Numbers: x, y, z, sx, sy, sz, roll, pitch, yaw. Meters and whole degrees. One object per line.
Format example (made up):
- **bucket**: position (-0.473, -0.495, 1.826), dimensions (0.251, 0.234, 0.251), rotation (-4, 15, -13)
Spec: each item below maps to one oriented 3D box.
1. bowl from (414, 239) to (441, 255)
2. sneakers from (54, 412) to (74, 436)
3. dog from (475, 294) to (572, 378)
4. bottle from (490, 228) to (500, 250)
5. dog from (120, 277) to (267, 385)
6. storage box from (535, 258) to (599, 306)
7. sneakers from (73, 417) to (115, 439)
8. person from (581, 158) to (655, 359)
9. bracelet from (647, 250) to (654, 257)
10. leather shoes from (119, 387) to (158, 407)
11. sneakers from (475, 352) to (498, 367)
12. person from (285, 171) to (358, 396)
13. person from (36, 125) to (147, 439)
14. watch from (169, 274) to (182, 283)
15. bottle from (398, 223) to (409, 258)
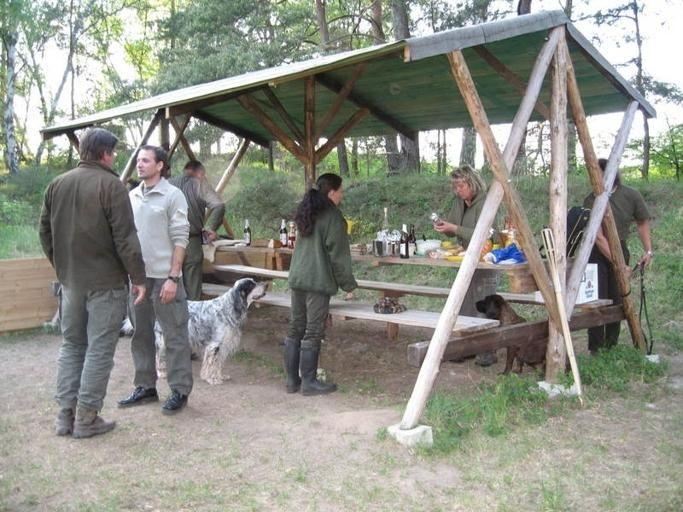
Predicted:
- **bowl**: position (1.060, -0.093, 7.056), dimensions (0.304, 0.185, 0.368), rotation (2, 8, 9)
- **sneakers**: position (-2.615, 1.611, 5.479), dimensions (0.101, 0.195, 0.302), rotation (3, 12, -25)
- **dog**: position (2.237, 0.969, 6.879), dimensions (0.434, 0.930, 1.364), rotation (-9, 5, -33)
- **bottle**: position (1.858, -0.210, 6.955), dimensions (0.123, 0.225, 0.657), rotation (2, 9, 15)
- **dog**: position (-1.745, 0.943, 7.147), dimensions (1.461, 1.227, 0.494), rotation (2, 6, -10)
- **storage box**: position (2.978, 0.378, 7.196), dimensions (0.571, 0.407, 0.621), rotation (-1, 4, -12)
- **sneakers**: position (-2.331, 1.619, 5.456), dimensions (0.425, 0.209, 0.137), rotation (-4, 9, -38)
- **person**: position (3.681, 0.030, 7.671), dimensions (1.081, 2.640, 0.655), rotation (-7, 10, -41)
- **bracelet**: position (4.512, -0.029, 8.453), dimensions (0.105, 0.110, 0.030), rotation (-1, -19, -8)
- **leather shoes**: position (-2.153, 1.521, 6.225), dimensions (0.453, 0.238, 0.155), rotation (3, 0, -27)
- **sneakers**: position (1.938, 1.389, 7.710), dimensions (0.234, 0.252, 0.239), rotation (-1, -2, 0)
- **person**: position (-0.255, 0.343, 6.629), dimensions (0.785, 2.533, 0.469), rotation (0, 7, -2)
- **person**: position (-2.351, 0.242, 5.511), dimensions (0.921, 2.912, 0.601), rotation (-3, 8, -20)
- **watch**: position (-1.683, 0.241, 5.813), dimensions (0.088, 0.058, 0.089), rotation (9, -12, -40)
- **bottle**: position (0.766, -0.186, 7.038), dimensions (0.113, 0.405, 0.309), rotation (1, 8, 5)
